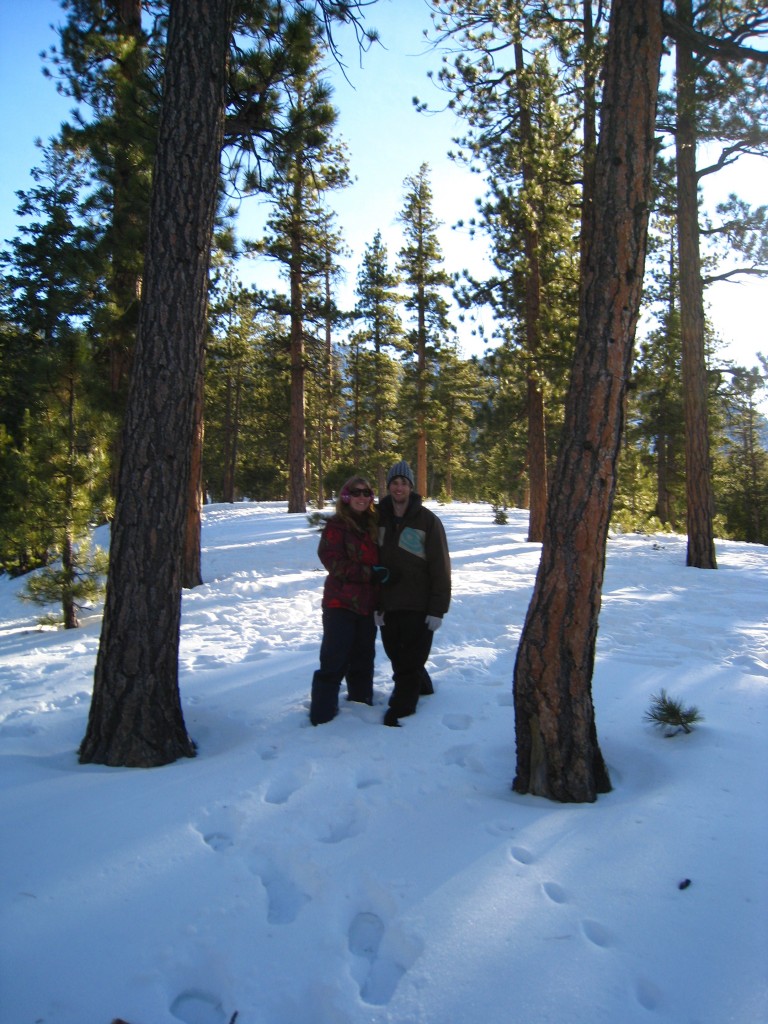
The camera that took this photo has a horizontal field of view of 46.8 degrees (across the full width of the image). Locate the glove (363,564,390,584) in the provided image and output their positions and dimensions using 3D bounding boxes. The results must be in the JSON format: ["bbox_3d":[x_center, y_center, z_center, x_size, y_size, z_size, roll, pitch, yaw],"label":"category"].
[{"bbox_3d":[-0.056,0.416,5.689,0.123,0.126,0.162,5,8,35],"label":"glove"}]

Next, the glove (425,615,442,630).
[{"bbox_3d":[0.316,0.704,5.576,0.060,0.087,0.108,1,-17,2],"label":"glove"}]

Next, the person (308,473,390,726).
[{"bbox_3d":[-0.256,0.537,5.640,0.415,1.451,0.816,0,6,-1],"label":"person"}]

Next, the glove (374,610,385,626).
[{"bbox_3d":[-0.032,0.691,5.770,0.072,0.126,0.065,0,6,30],"label":"glove"}]

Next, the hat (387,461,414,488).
[{"bbox_3d":[0.113,-0.243,5.838,0.133,0.158,0.153,4,-12,-1],"label":"hat"}]
